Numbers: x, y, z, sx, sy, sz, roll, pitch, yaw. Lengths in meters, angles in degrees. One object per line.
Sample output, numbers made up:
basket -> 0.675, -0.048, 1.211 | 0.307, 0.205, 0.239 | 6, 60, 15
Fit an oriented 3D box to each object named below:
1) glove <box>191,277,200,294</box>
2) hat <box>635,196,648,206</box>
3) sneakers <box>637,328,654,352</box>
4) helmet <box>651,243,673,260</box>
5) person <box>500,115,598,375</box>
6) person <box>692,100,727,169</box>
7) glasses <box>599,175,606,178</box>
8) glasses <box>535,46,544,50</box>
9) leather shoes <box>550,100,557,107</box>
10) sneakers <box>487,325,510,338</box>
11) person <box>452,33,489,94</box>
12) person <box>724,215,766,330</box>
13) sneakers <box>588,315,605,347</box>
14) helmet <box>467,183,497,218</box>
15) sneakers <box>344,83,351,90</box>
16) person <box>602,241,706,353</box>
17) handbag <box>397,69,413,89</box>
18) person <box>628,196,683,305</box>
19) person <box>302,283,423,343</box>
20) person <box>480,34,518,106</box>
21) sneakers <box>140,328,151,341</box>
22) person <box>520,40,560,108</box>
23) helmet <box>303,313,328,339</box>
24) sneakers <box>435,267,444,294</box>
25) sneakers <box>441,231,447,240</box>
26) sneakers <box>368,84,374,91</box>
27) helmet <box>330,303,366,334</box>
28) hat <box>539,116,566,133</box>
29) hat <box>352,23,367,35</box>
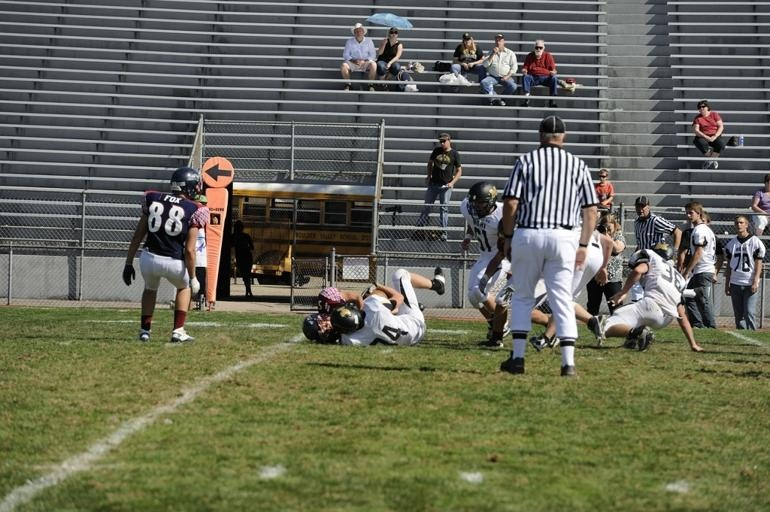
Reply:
glove -> -3.239, 0.509, 20.172 | 0.233, 0.251, 0.298 | 1, -13, -4
hat -> 4.943, -1.067, 22.842 | 0.225, 0.181, 0.306 | 3, 1, 7
sneakers -> 4.501, 1.450, 20.500 | 0.246, 0.495, 0.182 | -1, 15, -7
helmet -> 4.906, -0.072, 20.931 | 0.316, 0.238, 0.321 | 21, 2, 14
person -> 2.548, -0.166, 18.805 | 1.436, 4.112, 0.334 | 3, 0, 5
person -> 7.738, -2.907, 28.430 | 1.030, 1.670, 0.618 | 2, 1, -36
glasses -> 4.697, -1.717, 25.608 | 0.127, 0.066, 0.180 | 3, 1, 11
glasses -> 3.773, -5.106, 29.085 | 0.182, 0.125, 0.303 | 3, 1, -1
leather shoes -> 4.164, -3.826, 29.507 | 0.167, 0.167, 0.116 | 8, 10, 1
sneakers -> 2.019, 1.359, 21.114 | 0.195, 0.277, 0.604 | -3, -9, 13
person -> 2.069, -4.988, 29.906 | 0.899, 1.304, 0.877 | -2, 19, -1
person -> 7.262, 0.343, 24.089 | 0.811, 2.403, 0.597 | 3, 1, 32
sneakers -> 3.678, 1.250, 20.595 | 0.275, 0.621, 0.211 | -12, 7, 1
helmet -> 1.688, -1.006, 20.447 | 0.463, 0.565, 0.600 | 7, 18, 44
sneakers -> -0.965, -4.311, 29.980 | 0.158, 0.181, 0.162 | 6, 10, 33
person -> 4.624, 0.728, 20.710 | 1.533, 1.881, 0.629 | 3, 0, 7
handbag -> 0.535, -4.429, 29.891 | 0.234, 0.568, 0.368 | -29, -43, 25
person -> 5.160, 0.013, 23.070 | 0.726, 2.241, 1.130 | -10, 19, -35
person -> -0.288, 1.089, 20.399 | 1.572, 0.663, 1.019 | -18, -3, -29
person -> 2.842, -4.617, 29.532 | 0.901, 1.731, 0.701 | 3, 0, 2
sneakers -> -4.114, 1.353, 20.252 | 0.175, 0.227, 0.525 | 1, -5, -9
person -> 3.867, -4.511, 29.408 | 0.978, 1.608, 0.779 | 2, 1, -35
helmet -> -1.245, 1.266, 20.539 | 0.446, 0.447, 0.358 | 2, 13, -3
sneakers -> 0.942, 0.444, 21.506 | 0.167, 0.497, 0.222 | -6, -12, 26
sneakers -> 1.291, -0.439, 26.232 | 0.177, 0.160, 0.292 | -2, 6, 4
sneakers -> -0.356, -4.291, 29.894 | 0.157, 0.172, 0.233 | 3, 1, -4
helmet -> -0.689, 1.084, 20.318 | 0.529, 0.434, 0.484 | 3, 11, 28
hat -> 2.666, -2.126, 19.038 | 0.420, 0.292, 0.573 | 4, 13, 3
hat -> -0.696, -5.853, 30.200 | 0.416, 0.195, 0.479 | 0, -24, 1
